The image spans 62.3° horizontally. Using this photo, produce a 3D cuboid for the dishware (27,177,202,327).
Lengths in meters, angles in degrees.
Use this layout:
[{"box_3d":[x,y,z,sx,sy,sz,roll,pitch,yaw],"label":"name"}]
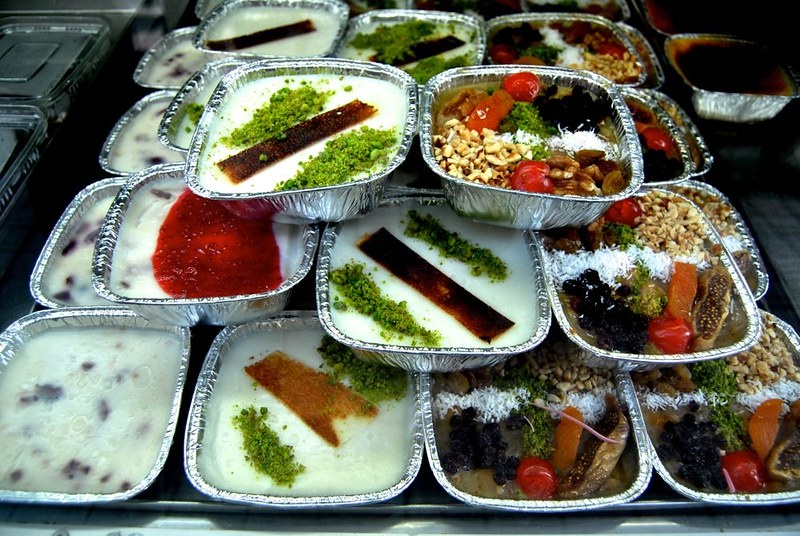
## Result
[{"box_3d":[-2.282,-0.121,4.723,0.636,0.190,0.956,-4,64,2],"label":"dishware"}]
